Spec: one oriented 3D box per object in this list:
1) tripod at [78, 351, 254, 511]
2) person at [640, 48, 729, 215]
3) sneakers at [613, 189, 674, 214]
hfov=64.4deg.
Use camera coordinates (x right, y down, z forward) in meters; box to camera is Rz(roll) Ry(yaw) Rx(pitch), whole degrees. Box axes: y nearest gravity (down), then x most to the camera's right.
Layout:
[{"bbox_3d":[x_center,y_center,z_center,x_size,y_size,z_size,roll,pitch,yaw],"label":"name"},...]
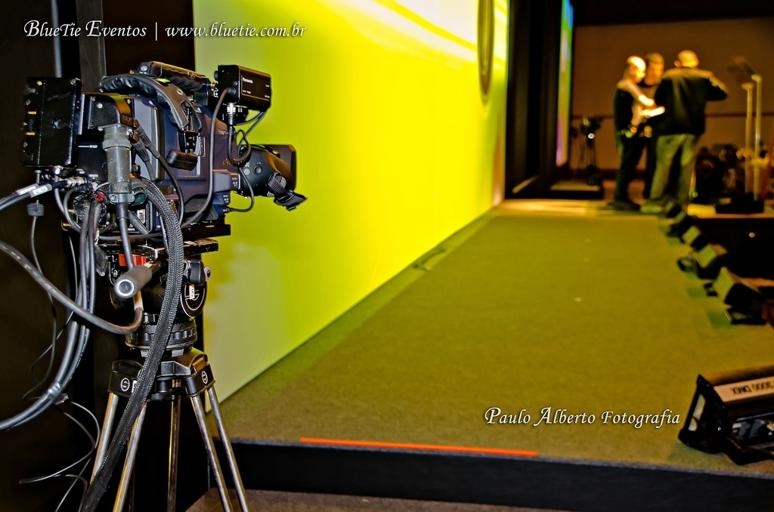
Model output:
[{"bbox_3d":[-0.709,0.443,1.939,0.483,0.680,0.457,4,-5,-37],"label":"tripod"},{"bbox_3d":[1.366,-0.558,2.831,0.298,0.740,0.087,10,16,26],"label":"person"},{"bbox_3d":[1.250,-0.261,3.003,0.262,0.110,0.090,3,12,31],"label":"sneakers"}]
